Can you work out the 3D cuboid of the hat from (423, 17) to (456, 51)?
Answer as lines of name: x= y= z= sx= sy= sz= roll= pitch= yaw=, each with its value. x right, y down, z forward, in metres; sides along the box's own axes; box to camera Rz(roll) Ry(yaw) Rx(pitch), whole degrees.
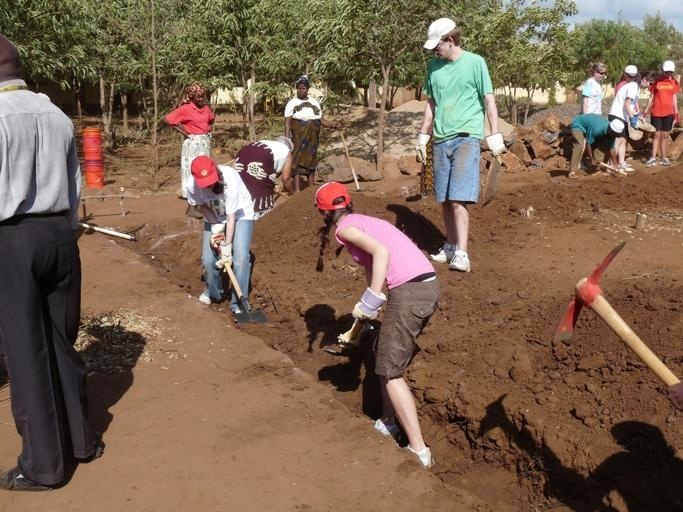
hat: x=1.039 y=-2.369 z=6.055 sx=0.386 sy=0.197 sz=0.250 roll=-37 pitch=34 yaw=6

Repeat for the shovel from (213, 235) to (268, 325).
shovel: x=-1.138 y=0.385 z=6.278 sx=0.378 sy=1.201 sz=0.226 roll=-25 pitch=-1 yaw=-15

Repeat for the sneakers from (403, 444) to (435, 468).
sneakers: x=0.611 y=1.512 z=4.422 sx=0.099 sy=0.112 sz=0.265 roll=-6 pitch=25 yaw=-38

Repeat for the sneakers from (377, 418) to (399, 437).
sneakers: x=0.366 y=1.414 z=4.700 sx=0.213 sy=0.088 sz=0.100 roll=5 pitch=8 yaw=41

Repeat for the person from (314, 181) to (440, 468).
person: x=0.312 y=0.598 z=4.496 sx=0.878 sy=2.272 sz=0.915 roll=-3 pitch=14 yaw=-16

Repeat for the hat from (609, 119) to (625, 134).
hat: x=4.917 y=-2.321 z=10.271 sx=0.243 sy=0.247 sz=0.226 roll=6 pitch=14 yaw=22

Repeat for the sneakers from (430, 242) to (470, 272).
sneakers: x=1.272 y=0.023 z=6.545 sx=0.610 sy=0.255 sz=0.206 roll=19 pitch=29 yaw=38

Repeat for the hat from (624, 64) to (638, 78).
hat: x=5.263 y=-3.377 z=10.441 sx=0.190 sy=0.221 sz=0.443 roll=6 pitch=14 yaw=22

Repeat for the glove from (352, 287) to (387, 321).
glove: x=0.212 y=0.360 z=4.291 sx=0.206 sy=0.296 sz=0.170 roll=10 pitch=16 yaw=34

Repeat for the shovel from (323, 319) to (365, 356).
shovel: x=0.044 y=0.662 z=4.602 sx=0.123 sy=0.321 sz=0.325 roll=36 pitch=-11 yaw=2

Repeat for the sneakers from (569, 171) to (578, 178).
sneakers: x=4.156 y=-1.459 z=10.334 sx=0.143 sy=0.070 sz=0.191 roll=-4 pitch=1 yaw=24

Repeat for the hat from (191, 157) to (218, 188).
hat: x=-1.353 y=-0.830 z=5.705 sx=0.260 sy=0.317 sz=0.298 roll=-1 pitch=13 yaw=-10

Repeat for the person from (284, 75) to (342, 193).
person: x=-0.631 y=-2.072 z=9.966 sx=0.633 sy=1.928 sz=1.022 roll=5 pitch=14 yaw=16

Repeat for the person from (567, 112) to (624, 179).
person: x=4.715 y=-2.067 z=10.651 sx=0.896 sy=1.124 sz=1.558 roll=7 pitch=14 yaw=24

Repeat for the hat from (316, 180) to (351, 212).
hat: x=-0.093 y=-0.473 z=4.550 sx=0.207 sy=0.153 sz=0.267 roll=-10 pitch=13 yaw=-12

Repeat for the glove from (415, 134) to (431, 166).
glove: x=0.952 y=-1.278 z=6.711 sx=0.234 sy=0.104 sz=0.277 roll=-10 pitch=56 yaw=-4

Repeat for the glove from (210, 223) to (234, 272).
glove: x=-1.274 y=-0.091 z=6.178 sx=0.303 sy=0.447 sz=0.177 roll=-1 pitch=15 yaw=13
